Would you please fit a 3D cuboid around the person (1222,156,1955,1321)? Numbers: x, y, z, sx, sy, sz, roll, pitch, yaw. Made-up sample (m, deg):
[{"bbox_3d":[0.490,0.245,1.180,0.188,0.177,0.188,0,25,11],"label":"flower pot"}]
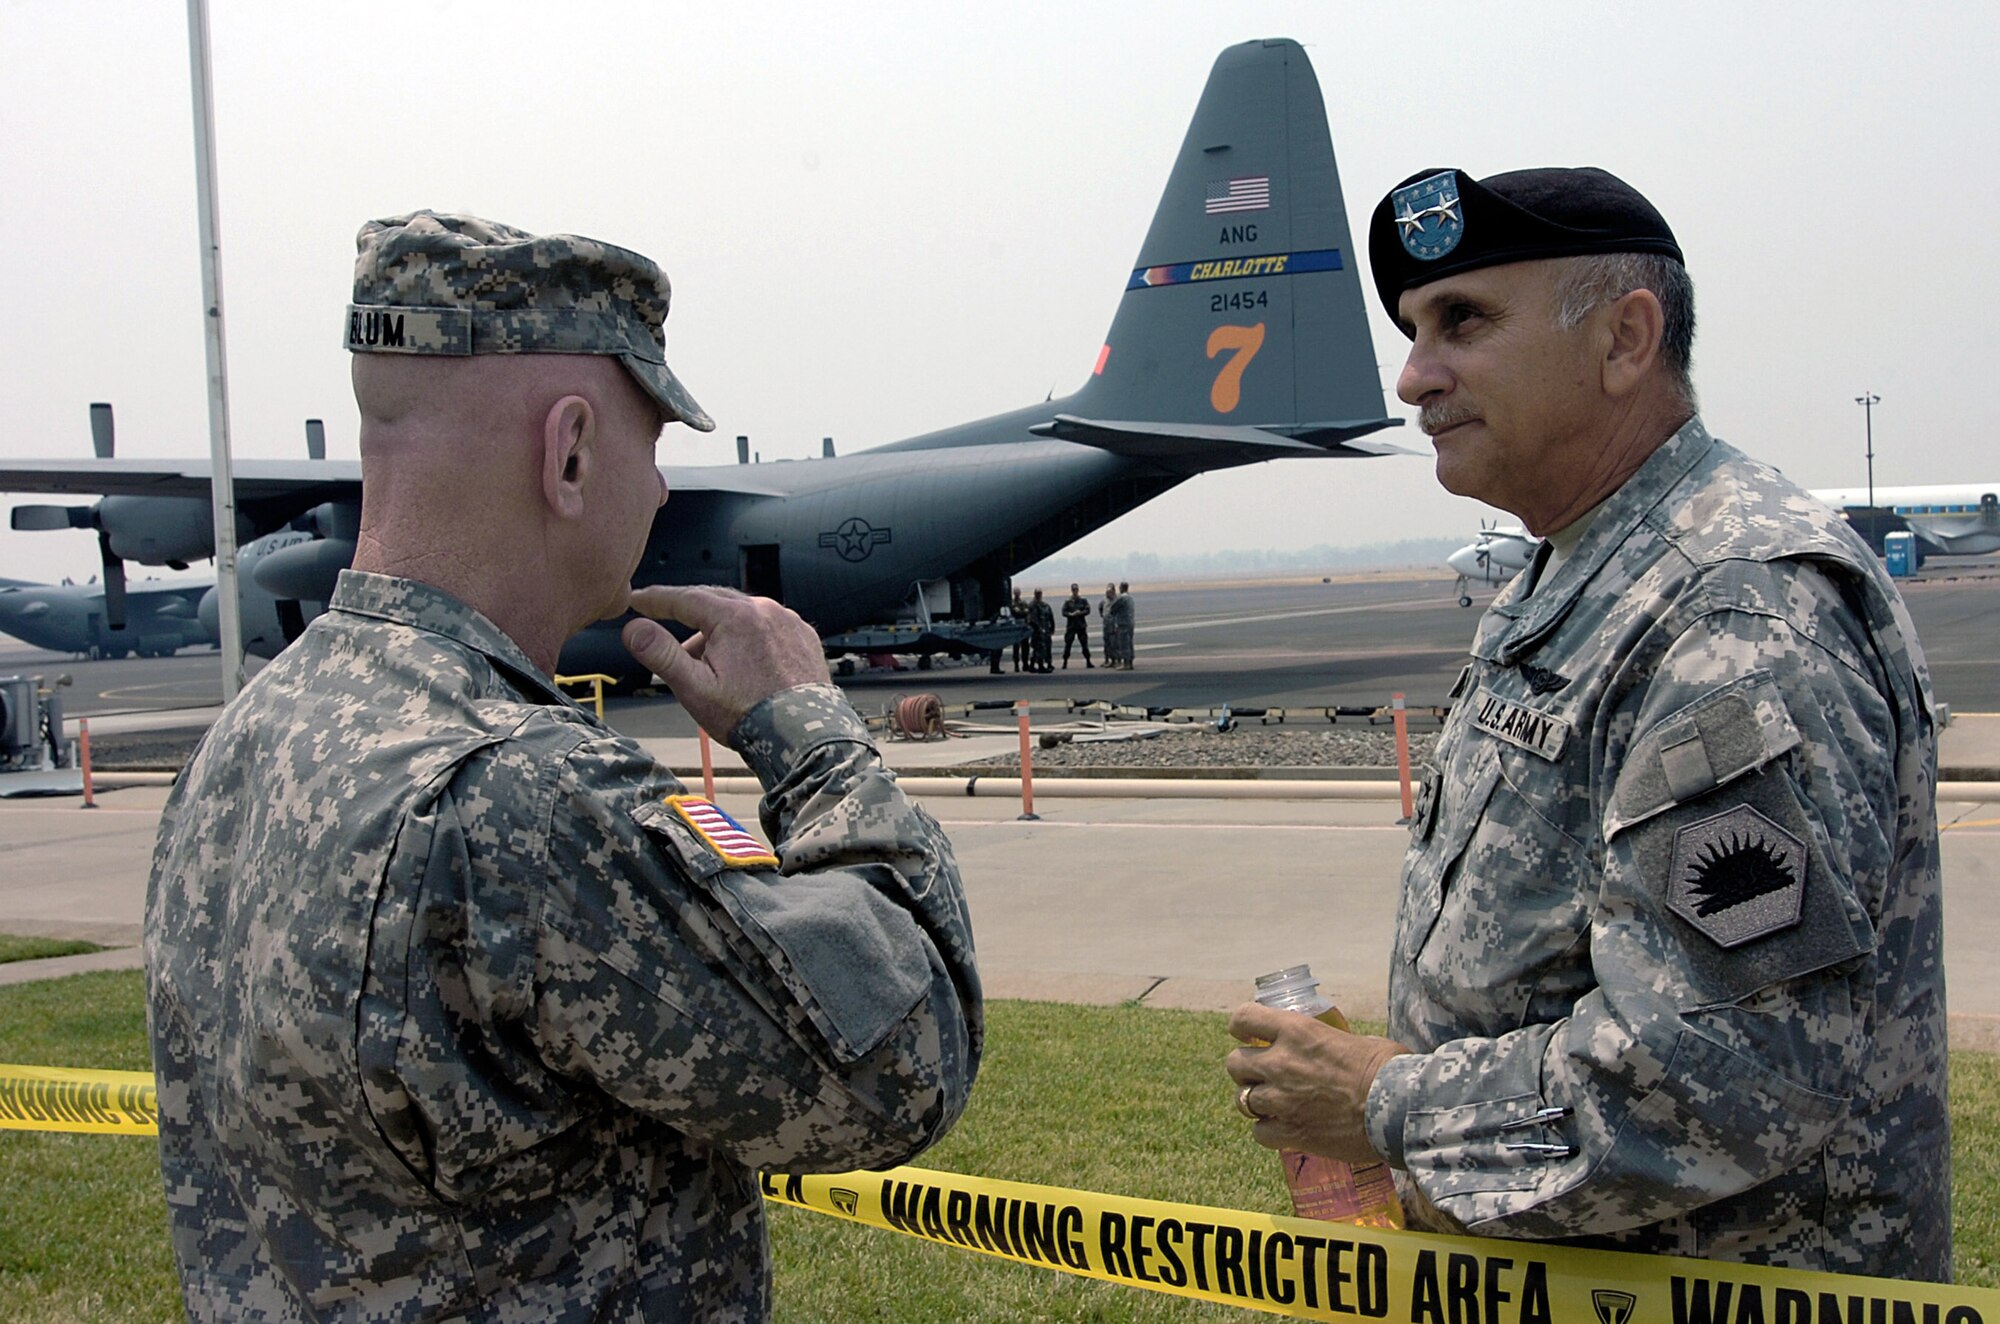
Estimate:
[{"bbox_3d":[1.095,0.093,3.523,1.017,1.974,0.595,2,0,32],"label":"person"}]
